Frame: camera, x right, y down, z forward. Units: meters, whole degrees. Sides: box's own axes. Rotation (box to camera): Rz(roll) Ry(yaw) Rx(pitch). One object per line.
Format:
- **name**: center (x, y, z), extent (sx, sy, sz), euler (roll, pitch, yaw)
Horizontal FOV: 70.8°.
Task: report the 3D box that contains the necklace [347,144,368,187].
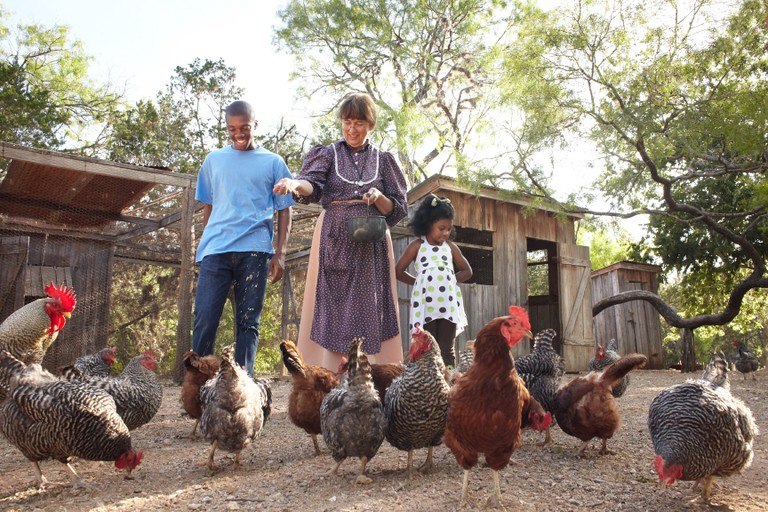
- **necklace**: center (-0.322, -1.054, 6.478), extent (0.247, 0.479, 0.131), euler (-1, -13, -2)
